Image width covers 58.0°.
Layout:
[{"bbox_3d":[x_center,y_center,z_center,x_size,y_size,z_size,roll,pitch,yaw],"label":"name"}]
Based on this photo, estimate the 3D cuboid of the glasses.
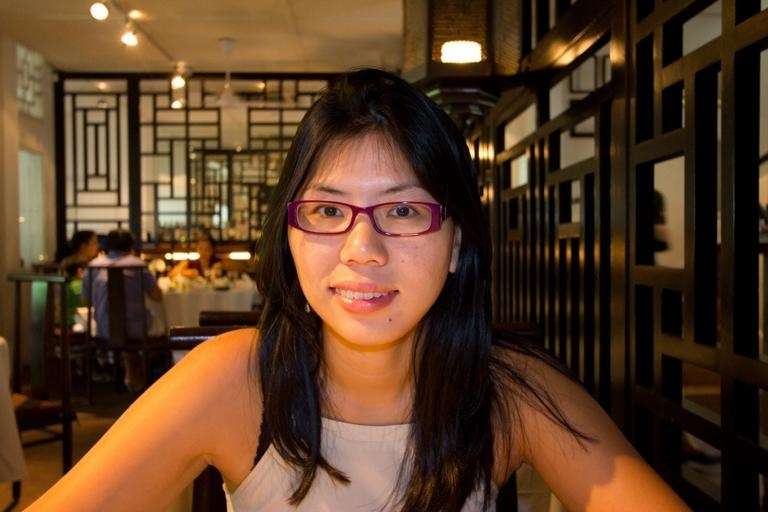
[{"bbox_3d":[-0.061,-0.112,2.060,0.455,0.121,0.062,-3,7,3],"label":"glasses"}]
